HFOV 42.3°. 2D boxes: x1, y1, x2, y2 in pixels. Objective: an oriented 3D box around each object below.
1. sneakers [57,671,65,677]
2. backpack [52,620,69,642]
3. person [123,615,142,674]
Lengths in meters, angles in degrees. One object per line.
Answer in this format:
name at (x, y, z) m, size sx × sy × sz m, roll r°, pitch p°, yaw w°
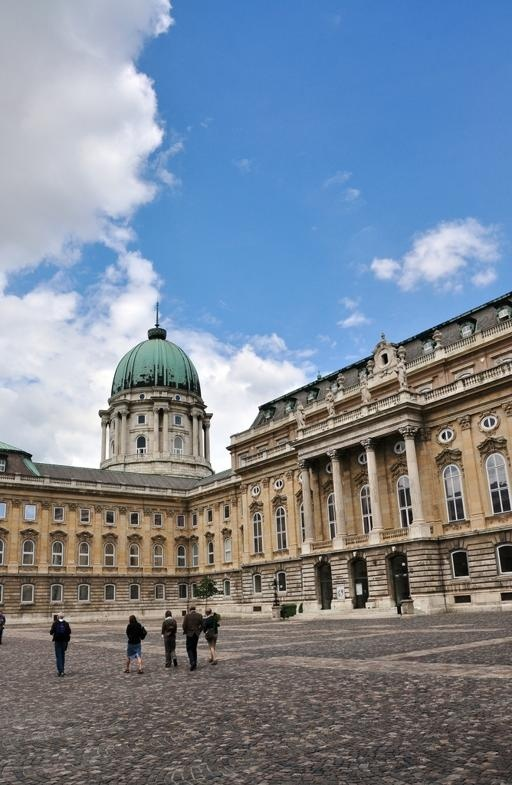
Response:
sneakers at (-5.162, 7.460, 17.482) m, size 0.132 × 0.154 × 0.362 m, roll 6°, pitch -23°, yaw -20°
backpack at (-5.260, 6.443, 17.739) m, size 0.476 × 0.568 × 0.649 m, roll 1°, pitch -14°, yaw -17°
person at (-3.333, 6.827, 17.980) m, size 0.477 × 1.527 × 1.523 m, roll -1°, pitch -14°, yaw -12°
